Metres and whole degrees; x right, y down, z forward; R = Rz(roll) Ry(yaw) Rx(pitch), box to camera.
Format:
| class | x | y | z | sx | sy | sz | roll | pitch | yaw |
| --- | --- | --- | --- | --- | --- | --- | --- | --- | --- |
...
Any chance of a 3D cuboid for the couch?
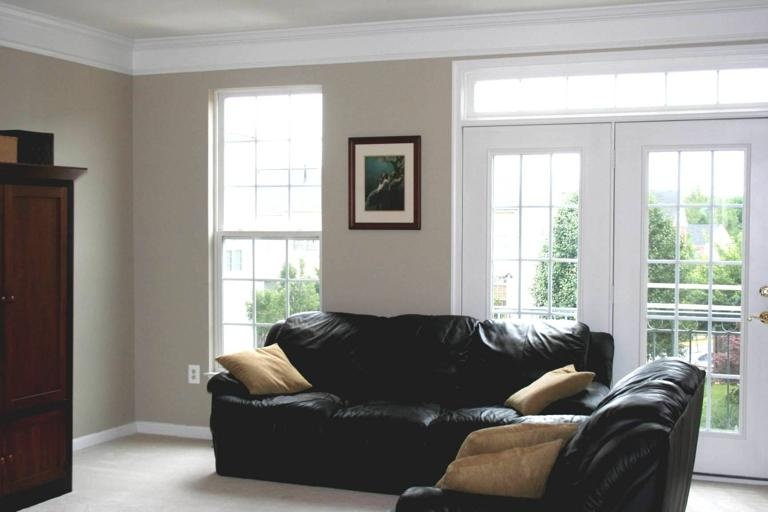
| class | x | y | z | sx | sy | sz | roll | pitch | yaw |
| --- | --- | --- | --- | --- | --- | --- | --- | --- | --- |
| couch | 0.186 | 1.124 | 4.821 | 2.965 | 1.170 | 1.210 | -2 | -1 | 23 |

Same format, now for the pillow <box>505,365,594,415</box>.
| class | x | y | z | sx | sy | sz | roll | pitch | yaw |
| --- | --- | --- | --- | --- | --- | --- | --- | --- | --- |
| pillow | 1.336 | 0.969 | 4.566 | 0.645 | 0.178 | 0.678 | -16 | -14 | 24 |

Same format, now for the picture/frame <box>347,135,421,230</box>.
| class | x | y | z | sx | sy | sz | roll | pitch | yaw |
| --- | --- | --- | --- | --- | --- | --- | --- | --- | --- |
| picture/frame | 0.027 | -0.648 | 5.306 | 0.895 | 1.046 | 0.074 | 0 | 0 | 10 |
